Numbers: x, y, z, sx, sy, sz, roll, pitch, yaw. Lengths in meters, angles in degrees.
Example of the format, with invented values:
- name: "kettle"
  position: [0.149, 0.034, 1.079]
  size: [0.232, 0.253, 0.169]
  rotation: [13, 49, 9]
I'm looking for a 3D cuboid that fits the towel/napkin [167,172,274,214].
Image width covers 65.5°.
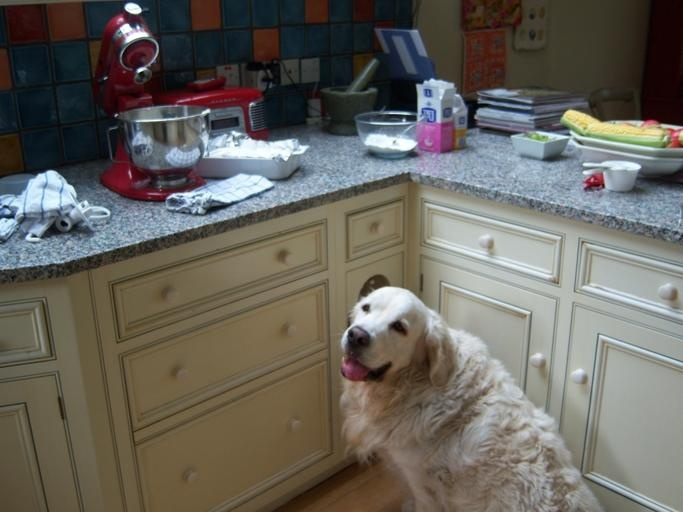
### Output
- name: "towel/napkin"
  position: [-0.366, -0.202, 1.668]
  size: [0.143, 0.052, 0.265]
  rotation: [13, 25, 31]

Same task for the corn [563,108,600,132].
- name: "corn"
  position: [0.865, -0.496, 1.938]
  size: [0.102, 0.035, 0.138]
  rotation: [-31, 39, -26]

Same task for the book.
- name: "book"
  position: [0.828, -0.741, 2.465]
  size: [0.468, 0.224, 0.464]
  rotation: [-15, 30, -33]

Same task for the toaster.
- name: "toaster"
  position: [-0.475, -0.578, 2.037]
  size: [0.251, 0.229, 0.304]
  rotation: [20, 25, 39]

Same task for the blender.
- name: "blender"
  position: [-0.612, -0.426, 1.814]
  size: [0.310, 0.753, 0.331]
  rotation: [-16, 30, -40]

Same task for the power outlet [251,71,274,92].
- name: "power outlet"
  position: [-0.338, -0.765, 2.334]
  size: [0.068, 0.084, 0.029]
  rotation: [-28, 25, -24]

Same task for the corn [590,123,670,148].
- name: "corn"
  position: [0.962, -0.408, 1.762]
  size: [0.200, 0.051, 0.121]
  rotation: [17, 40, 34]

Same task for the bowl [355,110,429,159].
- name: "bowl"
  position: [0.183, -0.493, 2.139]
  size: [0.245, 0.140, 0.307]
  rotation: [0, 26, 7]
